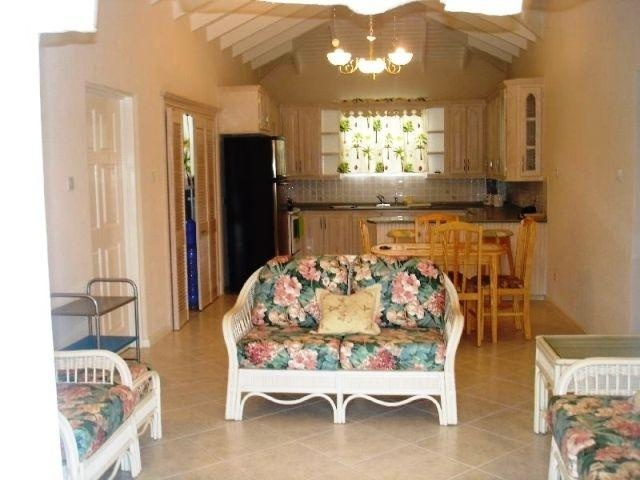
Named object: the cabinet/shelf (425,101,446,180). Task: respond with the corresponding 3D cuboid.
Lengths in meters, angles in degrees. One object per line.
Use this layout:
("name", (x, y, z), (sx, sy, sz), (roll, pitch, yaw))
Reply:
("cabinet/shelf", (1.947, -1.676, 9.679), (0.317, 1.101, 0.131), (0, 7, 13))

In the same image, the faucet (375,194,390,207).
("faucet", (1.118, -0.705, 10.034), (0.264, 0.249, 0.248), (2, 30, 10))

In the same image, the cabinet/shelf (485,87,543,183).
("cabinet/shelf", (2.531, -1.364, 7.380), (0.516, 1.392, 1.596), (0, 4, 7))

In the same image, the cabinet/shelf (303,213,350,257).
("cabinet/shelf", (0.127, -0.115, 9.494), (0.669, 0.625, 0.259), (0, 5, 5))

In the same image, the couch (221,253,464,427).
("couch", (0.176, 0.671, 4.065), (1.602, 0.994, 0.921), (-2, 8, 5))

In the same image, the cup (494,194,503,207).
("cup", (2.824, -0.620, 9.023), (0.121, 0.181, 0.287), (1, 7, 14))
